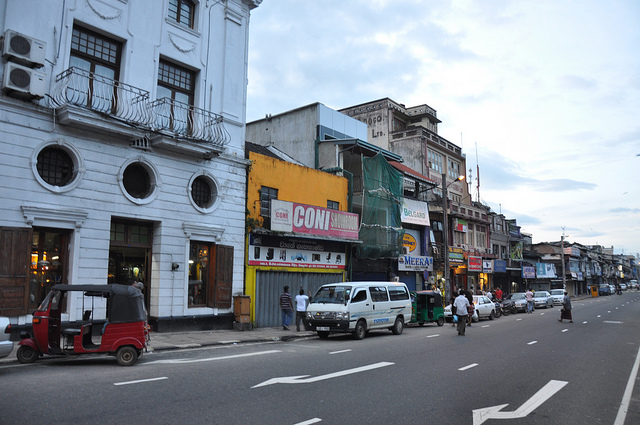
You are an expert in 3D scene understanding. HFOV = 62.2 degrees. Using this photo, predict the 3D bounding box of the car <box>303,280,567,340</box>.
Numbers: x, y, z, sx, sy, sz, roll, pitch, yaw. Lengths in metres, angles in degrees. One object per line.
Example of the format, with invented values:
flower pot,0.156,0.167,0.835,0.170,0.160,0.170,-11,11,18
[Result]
car,2.250,4.703,25.646,6.183,2.659,2.061,7,-14,-37

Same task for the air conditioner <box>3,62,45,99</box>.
air conditioner,-11.340,-5.073,20.249,1.556,1.703,0.768,1,-2,-14

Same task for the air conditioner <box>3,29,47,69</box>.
air conditioner,-11.391,-6.307,20.287,1.977,1.498,1.006,3,-2,-28
